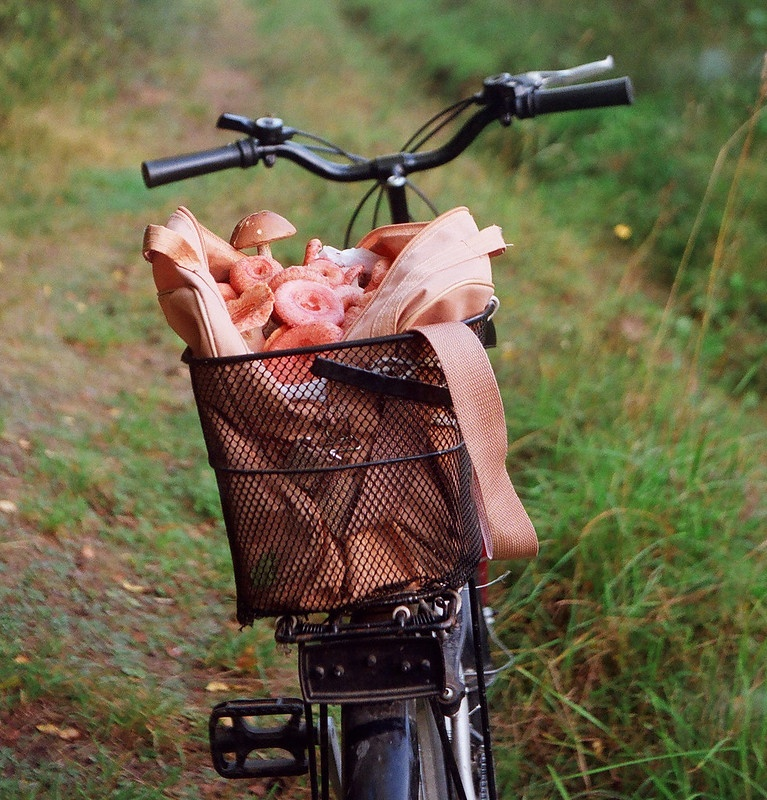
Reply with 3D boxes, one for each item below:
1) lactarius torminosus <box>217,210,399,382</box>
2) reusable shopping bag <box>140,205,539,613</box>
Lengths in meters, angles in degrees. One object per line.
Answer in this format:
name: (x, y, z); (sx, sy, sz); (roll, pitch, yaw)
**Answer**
lactarius torminosus: (-0.205, -0.219, 2.725); (0.505, 0.154, 0.449); (1, 38, -18)
reusable shopping bag: (-0.078, 0.031, 2.646); (0.972, 1.010, 0.425); (11, 11, 6)
